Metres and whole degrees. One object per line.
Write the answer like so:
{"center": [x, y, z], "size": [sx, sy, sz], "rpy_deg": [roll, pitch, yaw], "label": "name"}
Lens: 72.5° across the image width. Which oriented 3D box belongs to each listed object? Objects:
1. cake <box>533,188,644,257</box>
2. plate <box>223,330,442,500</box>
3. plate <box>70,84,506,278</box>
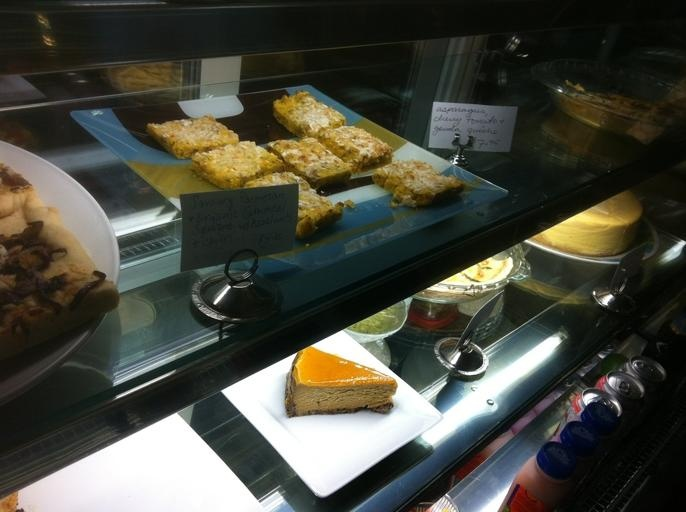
{"center": [0.877, -0.104, 1.668], "size": [0.366, 0.099, 0.338], "rpy_deg": [-16, 31, -27], "label": "cake"}
{"center": [-0.074, 0.434, 1.160], "size": [0.473, 0.059, 0.449], "rpy_deg": [-21, 52, -42], "label": "plate"}
{"center": [-0.083, -0.201, 0.954], "size": [0.568, 0.165, 0.583], "rpy_deg": [33, 47, 31], "label": "plate"}
